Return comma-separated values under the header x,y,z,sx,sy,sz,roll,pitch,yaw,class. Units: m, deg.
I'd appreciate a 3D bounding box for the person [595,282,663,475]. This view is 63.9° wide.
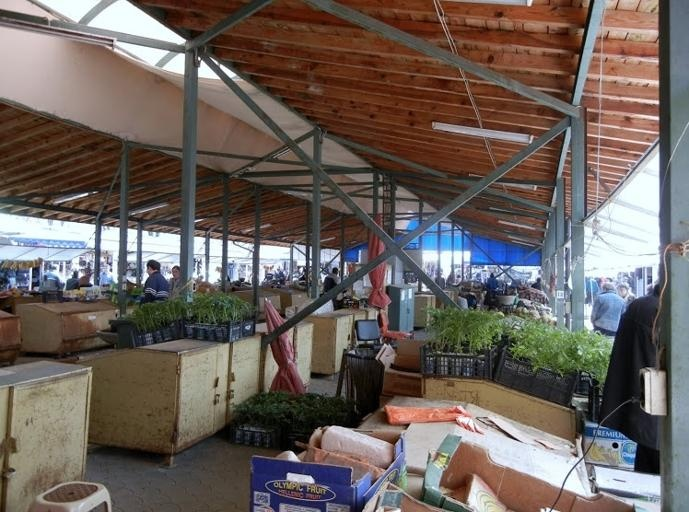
x,y,z,sx,sy,sz,roll,pitch,yaw,class
2.607,1.135,5.054,0.476,1.743,0.643,2,-1,28,person

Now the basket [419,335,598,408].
x,y,z,sx,sy,sz,roll,pitch,yaw,class
1.724,1.232,5.887,1.759,0.414,0.477,2,-1,18,basket

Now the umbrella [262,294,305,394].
x,y,z,sx,sy,sz,roll,pitch,yaw,class
-0.921,1.334,8.176,0.627,1.523,0.546,-22,53,-17,umbrella

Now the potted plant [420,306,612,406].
x,y,z,sx,sy,sz,roll,pitch,yaw,class
1.931,1.056,6.245,1.350,0.396,1.257,13,-5,21,potted plant

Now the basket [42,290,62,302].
x,y,z,sx,sy,sz,roll,pitch,yaw,class
-6.020,0.839,11.391,0.492,0.215,0.285,2,0,-8,basket
